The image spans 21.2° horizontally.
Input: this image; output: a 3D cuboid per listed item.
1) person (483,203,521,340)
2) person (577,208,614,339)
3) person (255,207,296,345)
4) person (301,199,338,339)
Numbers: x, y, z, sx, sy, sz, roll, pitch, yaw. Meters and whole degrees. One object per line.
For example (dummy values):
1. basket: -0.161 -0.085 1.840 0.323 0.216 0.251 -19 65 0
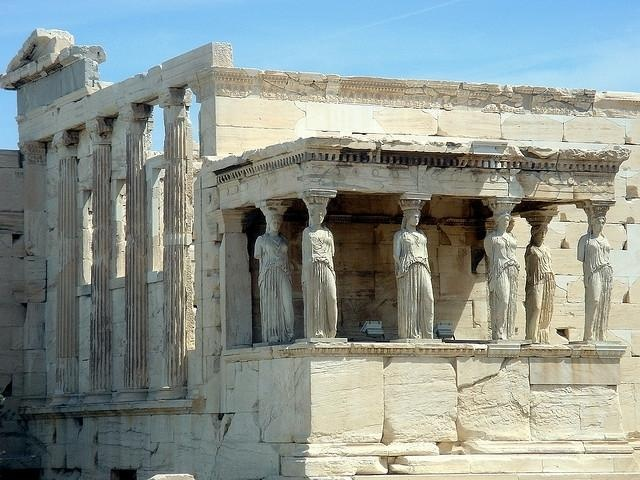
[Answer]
1. person: 3.989 0.716 36.481 0.697 2.727 0.839 0 3 41
2. person: 6.042 0.749 36.948 0.816 2.824 0.689 3 -3 -41
3. person: -0.913 0.762 36.375 0.824 2.782 0.686 0 -9 -13
4. person: 0.045 0.654 35.516 0.817 2.831 0.626 0 -5 -20
